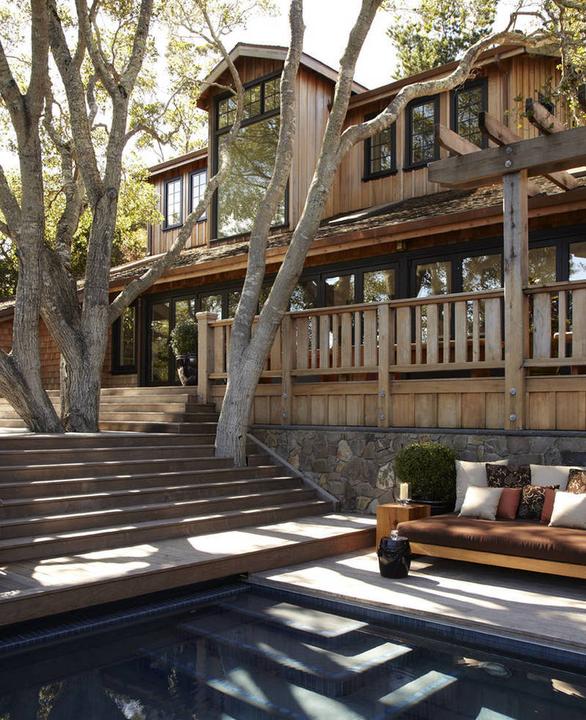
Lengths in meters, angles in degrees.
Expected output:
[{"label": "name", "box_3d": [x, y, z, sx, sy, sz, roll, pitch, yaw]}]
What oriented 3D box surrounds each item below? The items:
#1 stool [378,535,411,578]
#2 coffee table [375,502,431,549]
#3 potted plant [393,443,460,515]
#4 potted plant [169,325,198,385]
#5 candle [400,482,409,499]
[{"label": "stool", "box_3d": [0.864, 1.671, 5.350, 0.303, 0.371, 0.268, -6, -8, 33]}, {"label": "coffee table", "box_3d": [1.078, 1.617, 6.286, 0.438, 0.464, 0.446, -5, -6, 43]}, {"label": "potted plant", "box_3d": [1.399, 1.305, 6.836, 0.705, 0.772, 0.639, 1, -14, -1]}, {"label": "potted plant", "box_3d": [-2.025, -0.141, 11.891, 0.639, 1.222, 0.354, -6, -8, 42]}, {"label": "candle", "box_3d": [1.092, 1.303, 6.233, 0.129, 0.154, 0.131, -1, -4, 0]}]
